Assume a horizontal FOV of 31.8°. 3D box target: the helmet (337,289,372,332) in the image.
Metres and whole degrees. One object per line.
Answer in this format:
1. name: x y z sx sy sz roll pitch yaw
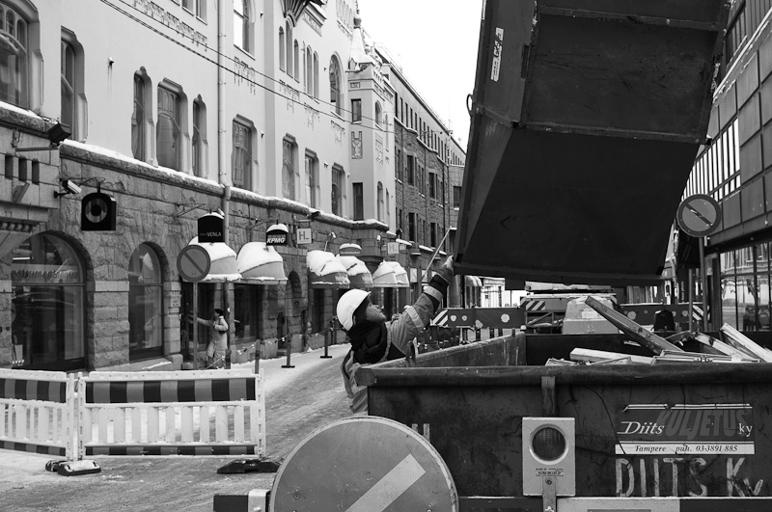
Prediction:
1. helmet: -0.500 0.775 21.190 0.437 0.678 0.470 7 -8 -3

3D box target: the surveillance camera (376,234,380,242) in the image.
1. surveillance camera: -0.252 -0.739 54.630 0.180 0.350 0.196 4 -41 -4

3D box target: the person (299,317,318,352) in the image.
1. person: -2.623 2.717 46.125 0.716 1.605 0.787 1 2 -7

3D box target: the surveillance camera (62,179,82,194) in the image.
1. surveillance camera: -7.155 -1.588 31.068 0.395 0.366 0.748 2 -10 -14

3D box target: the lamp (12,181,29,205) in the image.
1. lamp: -7.696 -1.358 28.915 0.200 0.478 0.475 -5 -10 32

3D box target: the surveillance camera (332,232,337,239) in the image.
1. surveillance camera: -1.883 -0.788 50.011 0.153 0.242 0.093 -9 14 -38

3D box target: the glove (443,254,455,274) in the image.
1. glove: 1.003 0.105 21.423 0.126 0.351 0.094 31 -38 -34
